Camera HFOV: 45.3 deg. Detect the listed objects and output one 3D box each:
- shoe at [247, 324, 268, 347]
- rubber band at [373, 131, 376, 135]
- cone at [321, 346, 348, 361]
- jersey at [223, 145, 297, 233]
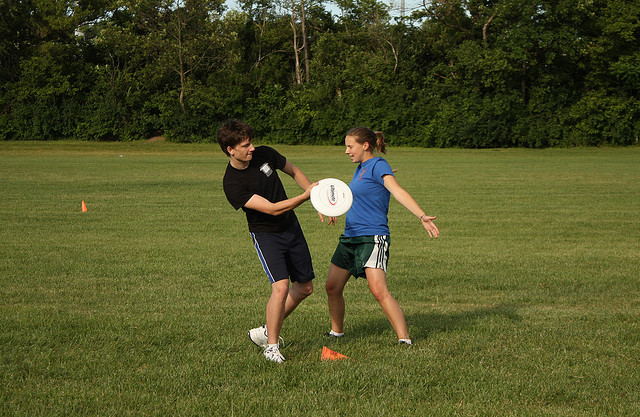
[{"bbox_3d":[-1.329,2.795,16.920,0.569,0.468,0.225,8,10,27],"label":"shoe"},{"bbox_3d":[1.221,-1.721,17.294,0.017,0.048,0.050,-5,30,25],"label":"rubber band"},{"bbox_3d":[0.254,3.112,16.589,0.557,0.333,0.266,10,1,0],"label":"cone"},{"bbox_3d":[-1.310,-0.414,17.149,1.011,1.943,1.913,0,34,34],"label":"jersey"}]
